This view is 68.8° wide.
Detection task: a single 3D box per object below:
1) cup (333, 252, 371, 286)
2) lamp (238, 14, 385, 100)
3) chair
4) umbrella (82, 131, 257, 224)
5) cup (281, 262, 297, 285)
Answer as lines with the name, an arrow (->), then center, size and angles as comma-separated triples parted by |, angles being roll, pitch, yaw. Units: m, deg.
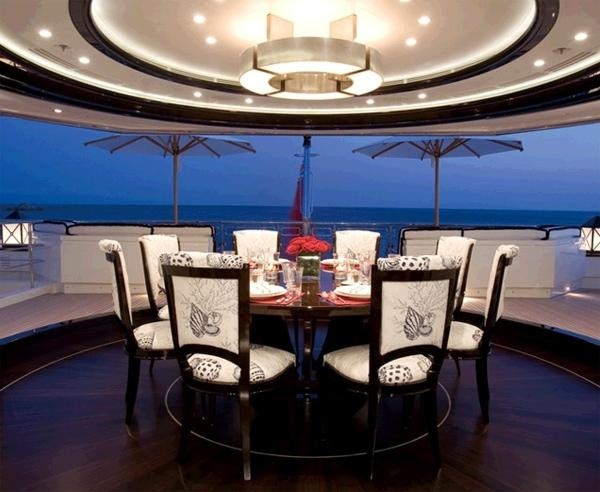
cup -> 0.409, 0.159, 3.041 | 0.257, 0.220, 0.217 | 7, -9, -40
lamp -> 0.099, -1.584, 3.680 | 1.167, 0.440, 1.090 | 1, 4, 5
chair -> 0.090, 0.557, 2.603 | 1.478, 0.666, 1.397 | 0, -4, 8
umbrella -> -2.031, -1.126, 7.552 | 2.027, 1.507, 1.809 | 5, 13, 20
cup -> -0.097, 0.174, 2.795 | 0.135, 0.151, 0.127 | 1, -2, 0
